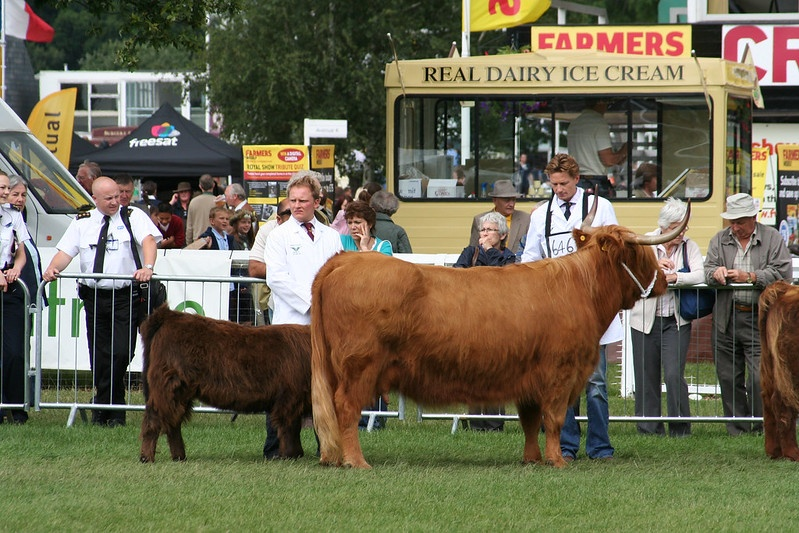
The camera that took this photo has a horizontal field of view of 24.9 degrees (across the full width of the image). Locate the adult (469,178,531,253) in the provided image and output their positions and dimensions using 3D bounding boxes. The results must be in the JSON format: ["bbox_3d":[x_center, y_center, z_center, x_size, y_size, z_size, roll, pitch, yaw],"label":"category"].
[{"bbox_3d":[1.793,-0.888,32.608,1.100,2.231,0.669,-2,6,-5],"label":"adult"}]

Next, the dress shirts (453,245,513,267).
[{"bbox_3d":[1.452,-0.162,30.373,0.540,0.270,0.518,0,-7,-8],"label":"dress shirts"}]

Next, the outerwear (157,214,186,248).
[{"bbox_3d":[-4.677,-0.650,36.887,0.377,0.721,0.665,21,-22,-28],"label":"outerwear"}]

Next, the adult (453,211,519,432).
[{"bbox_3d":[1.457,1.327,30.125,1.380,5.000,1.350,-1,-18,7],"label":"adult"}]

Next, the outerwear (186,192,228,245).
[{"bbox_3d":[-3.855,-0.916,35.773,0.795,1.169,0.400,9,6,28],"label":"outerwear"}]

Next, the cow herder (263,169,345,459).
[{"bbox_3d":[-1.511,0.782,29.304,1.244,4.464,1.019,0,15,-11],"label":"cow herder"}]

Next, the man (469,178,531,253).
[{"bbox_3d":[1.793,-0.888,32.608,1.100,2.231,0.669,-2,6,-5],"label":"man"}]

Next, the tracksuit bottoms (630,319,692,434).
[{"bbox_3d":[4.502,1.565,30.731,0.695,2.284,0.495,2,26,15],"label":"tracksuit bottoms"}]

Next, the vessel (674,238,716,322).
[{"bbox_3d":[4.903,0.255,30.751,0.496,1.293,0.849,-10,10,5],"label":"vessel"}]

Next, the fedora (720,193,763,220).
[{"bbox_3d":[5.745,-1.002,30.261,0.559,0.423,0.383,-1,-1,8],"label":"fedora"}]
